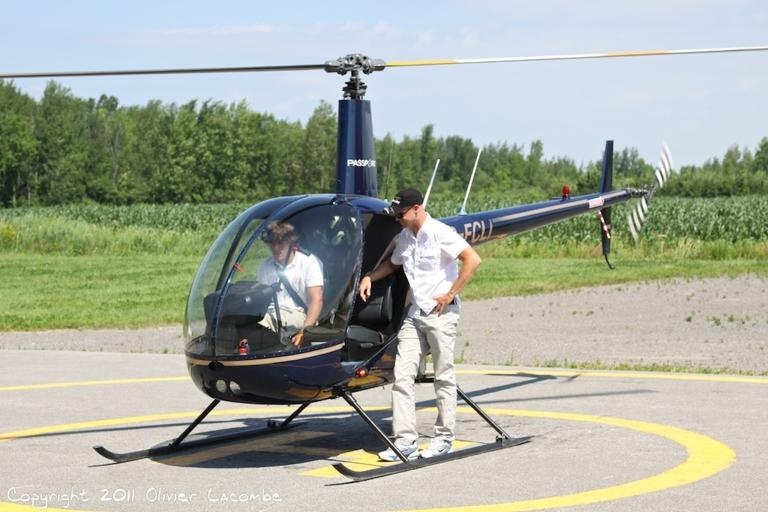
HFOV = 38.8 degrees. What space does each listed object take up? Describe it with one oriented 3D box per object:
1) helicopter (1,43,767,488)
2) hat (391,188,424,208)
[{"bbox_3d":[0.381,-0.168,15.637,3.481,5.305,7.041,6,12,35],"label":"helicopter"},{"bbox_3d":[0.317,-0.743,14.013,0.368,0.165,0.224,0,15,-1],"label":"hat"}]
